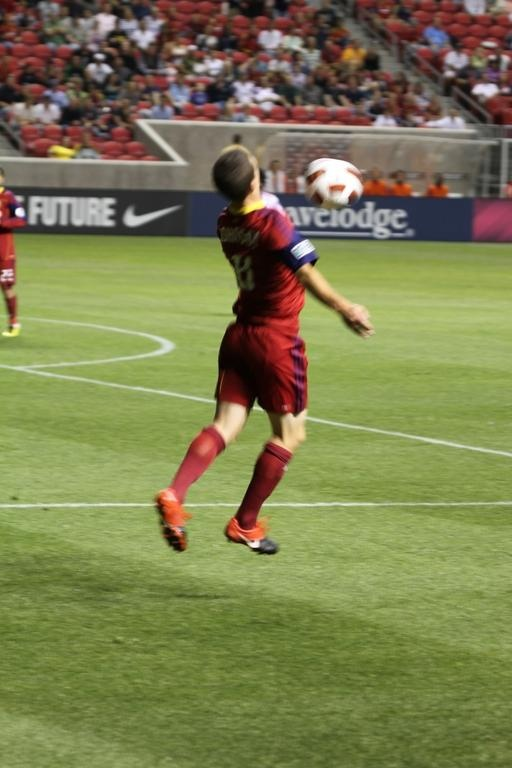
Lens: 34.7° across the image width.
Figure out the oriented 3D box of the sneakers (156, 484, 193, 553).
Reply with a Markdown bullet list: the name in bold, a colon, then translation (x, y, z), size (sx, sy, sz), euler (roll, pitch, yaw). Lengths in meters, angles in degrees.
- **sneakers**: translation (-0.287, 0.478, 2.780), size (0.108, 0.227, 0.127), euler (1, 14, -7)

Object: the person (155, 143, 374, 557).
- **person**: translation (0.033, -0.068, 2.986), size (0.655, 1.557, 0.744), euler (3, 14, 4)

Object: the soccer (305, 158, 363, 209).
- **soccer**: translation (0.332, -0.910, 3.657), size (0.293, 0.220, 0.318), euler (0, 27, -5)
